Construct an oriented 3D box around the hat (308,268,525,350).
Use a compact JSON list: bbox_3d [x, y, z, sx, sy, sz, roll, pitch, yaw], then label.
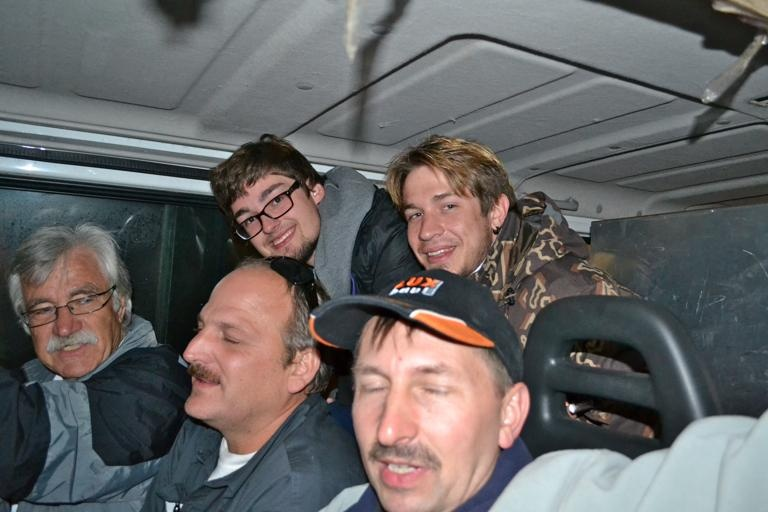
[{"bbox_3d":[0.148,0.231,1.993,0.540,0.165,0.372,17,-24,-27],"label":"hat"}]
